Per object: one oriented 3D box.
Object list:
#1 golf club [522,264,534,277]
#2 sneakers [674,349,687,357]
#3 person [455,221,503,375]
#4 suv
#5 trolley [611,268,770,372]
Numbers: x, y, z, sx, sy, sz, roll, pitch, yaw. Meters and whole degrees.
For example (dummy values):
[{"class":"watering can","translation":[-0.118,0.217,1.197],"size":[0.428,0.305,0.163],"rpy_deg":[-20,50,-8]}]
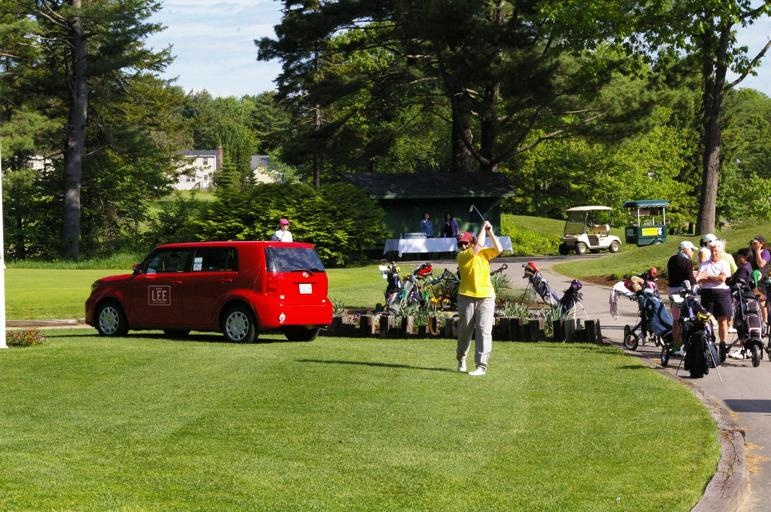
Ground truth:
[{"class":"golf club","translation":[3.941,0.401,28.947],"size":[0.317,0.289,0.295],"rpy_deg":[8,3,18]},{"class":"sneakers","translation":[6.531,2.155,23.360],"size":[0.221,0.108,0.340],"rpy_deg":[-1,-1,-6]},{"class":"person","translation":[1.905,0.878,21.923],"size":[0.759,3.205,0.980],"rpy_deg":[-1,11,-16]},{"class":"suv","translation":[-4.057,0.726,25.453],"size":[4.641,1.746,2.588],"rpy_deg":[2,0,24]},{"class":"trolley","translation":[7.269,1.479,23.488],"size":[2.596,2.051,3.312],"rpy_deg":[0,10,-12]}]
